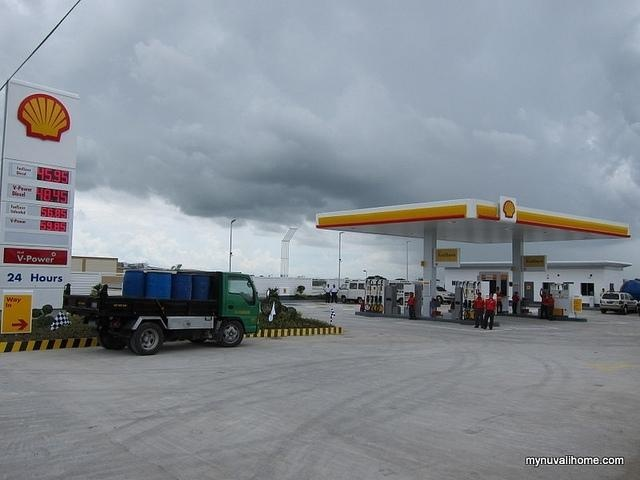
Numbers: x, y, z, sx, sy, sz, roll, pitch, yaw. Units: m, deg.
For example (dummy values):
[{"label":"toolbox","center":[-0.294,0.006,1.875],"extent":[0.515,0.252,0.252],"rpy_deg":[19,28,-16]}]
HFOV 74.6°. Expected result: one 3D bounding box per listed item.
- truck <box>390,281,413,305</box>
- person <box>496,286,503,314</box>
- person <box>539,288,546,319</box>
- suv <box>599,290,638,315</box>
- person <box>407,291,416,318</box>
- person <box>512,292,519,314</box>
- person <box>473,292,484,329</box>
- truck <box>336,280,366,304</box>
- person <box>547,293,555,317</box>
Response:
[{"label":"truck","center":[6.257,4.165,32.541],"extent":[0.749,1.522,1.516],"rpy_deg":[0,-2,-2]},{"label":"person","center":[14.831,5.003,34.952],"extent":[0.495,2.085,1.330],"rpy_deg":[-1,-6,30]},{"label":"person","center":[17.147,5.006,32.457],"extent":[0.415,2.077,1.240],"rpy_deg":[-1,-6,28]},{"label":"suv","center":[29.348,6.018,41.424],"extent":[4.858,2.328,2.351],"rpy_deg":[-1,-1,-45]},{"label":"person","center":[6.397,4.629,29.475],"extent":[0.447,1.793,0.778],"rpy_deg":[-1,-6,30]},{"label":"person","center":[15.746,5.116,33.929],"extent":[0.469,1.746,0.545],"rpy_deg":[-1,-5,23]},{"label":"person","center":[9.657,4.314,25.608],"extent":[0.550,1.969,1.302],"rpy_deg":[-1,-5,22]},{"label":"truck","center":[3.878,6.461,49.949],"extent":[2.749,2.902,4.694],"rpy_deg":[1,-1,-13]},{"label":"person","center":[17.514,5.031,32.038],"extent":[0.427,1.750,0.973],"rpy_deg":[-1,-6,30]}]
